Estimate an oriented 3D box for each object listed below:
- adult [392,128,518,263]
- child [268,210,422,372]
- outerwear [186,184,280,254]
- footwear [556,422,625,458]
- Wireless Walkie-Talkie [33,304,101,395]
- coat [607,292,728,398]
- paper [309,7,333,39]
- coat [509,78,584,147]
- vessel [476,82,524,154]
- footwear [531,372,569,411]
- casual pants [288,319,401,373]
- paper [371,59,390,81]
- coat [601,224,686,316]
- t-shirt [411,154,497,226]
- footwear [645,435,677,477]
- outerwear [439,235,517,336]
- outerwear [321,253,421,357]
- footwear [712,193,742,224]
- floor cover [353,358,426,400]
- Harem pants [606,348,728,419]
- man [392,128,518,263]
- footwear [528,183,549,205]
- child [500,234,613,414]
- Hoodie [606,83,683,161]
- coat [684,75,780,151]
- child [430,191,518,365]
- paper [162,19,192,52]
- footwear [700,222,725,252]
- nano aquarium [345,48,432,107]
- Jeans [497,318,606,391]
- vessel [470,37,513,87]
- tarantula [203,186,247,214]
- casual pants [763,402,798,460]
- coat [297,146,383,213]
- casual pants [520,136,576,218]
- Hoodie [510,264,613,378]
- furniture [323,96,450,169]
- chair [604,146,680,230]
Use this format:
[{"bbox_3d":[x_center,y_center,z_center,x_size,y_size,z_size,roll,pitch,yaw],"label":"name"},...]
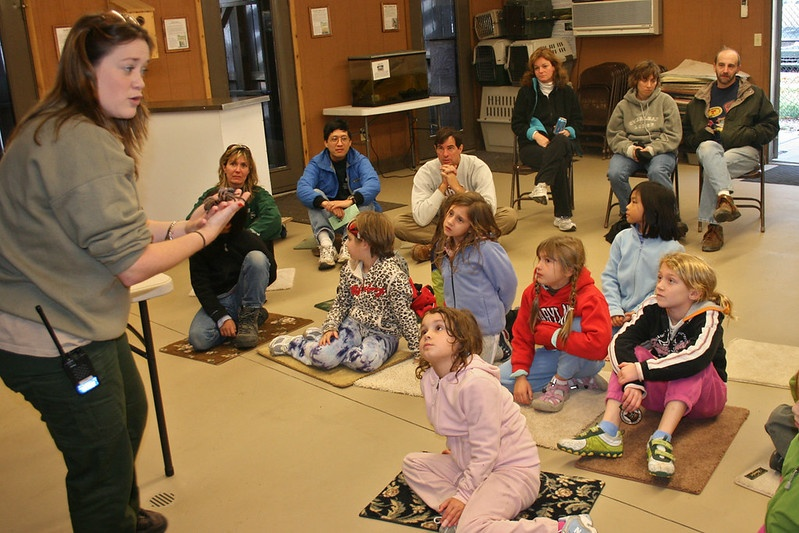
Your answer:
[{"bbox_3d":[0.449,-0.678,5.006,1.016,1.020,0.780,-3,19,8],"label":"adult"},{"bbox_3d":[-0.240,0.055,3.752,0.854,1.025,0.933,-7,14,-42],"label":"child"},{"bbox_3d":[-1.273,-0.350,4.786,0.512,0.618,0.341,1,25,-15],"label":"outerwear"},{"bbox_3d":[0.890,0.806,2.717,0.355,0.186,0.130,2,0,-3],"label":"footwear"},{"bbox_3d":[-1.059,0.270,1.842,0.078,0.345,0.039,-31,43,-30],"label":"Wireless Walkie-Talkie"},{"bbox_3d":[1.284,0.375,2.769,0.445,0.447,0.618,1,0,40],"label":"coat"},{"bbox_3d":[-1.023,-3.132,7.387,0.401,0.479,0.031,-9,7,-43],"label":"paper"},{"bbox_3d":[1.450,-1.518,6.286,0.880,0.941,0.643,-1,10,-2],"label":"coat"},{"bbox_3d":[1.460,-2.213,9.022,0.775,0.994,0.859,1,-1,31],"label":"vessel"},{"bbox_3d":[0.816,0.674,3.109,0.101,0.124,0.280,3,9,30],"label":"footwear"},{"bbox_3d":[-0.290,0.463,3.613,0.454,0.218,0.629,29,12,14],"label":"casual pants"},{"bbox_3d":[-0.254,-2.497,7.300,0.251,0.225,0.035,-17,19,-42],"label":"paper"},{"bbox_3d":[1.363,0.034,3.214,0.307,0.504,0.415,10,5,-39],"label":"coat"},{"bbox_3d":[0.471,-0.660,5.069,0.563,0.568,0.672,0,34,14],"label":"t-shirt"},{"bbox_3d":[1.122,0.826,2.531,0.079,0.115,0.226,-1,11,8],"label":"footwear"},{"bbox_3d":[0.483,0.070,3.485,0.366,0.640,0.489,-12,14,-30],"label":"outerwear"},{"bbox_3d":[-0.115,0.213,3.598,0.663,0.774,0.385,9,18,21],"label":"outerwear"},{"bbox_3d":[2.749,-0.485,4.862,0.138,0.301,0.398,-23,-17,31],"label":"footwear"},{"bbox_3d":[-0.017,0.667,3.357,0.235,0.025,0.248,6,20,41],"label":"floor cover"},{"bbox_3d":[1.325,0.592,2.771,0.510,0.225,0.329,10,-3,-34],"label":"Harem pants"},{"bbox_3d":[0.437,-0.674,5.003,0.990,1.020,0.783,-5,19,2],"label":"man"},{"bbox_3d":[1.397,-0.719,5.751,0.108,0.144,0.309,10,3,-1],"label":"footwear"},{"bbox_3d":[0.820,0.292,3.125,0.609,0.895,0.597,0,7,31],"label":"child"},{"bbox_3d":[2.389,-1.331,5.645,0.839,0.895,0.654,3,3,29],"label":"Hoodie"},{"bbox_3d":[3.078,-1.426,5.451,0.512,0.685,0.860,-12,15,-42],"label":"coat"},{"bbox_3d":[0.470,0.038,3.513,0.474,1.060,0.460,6,25,31],"label":"child"},{"bbox_3d":[-2.520,-2.602,6.469,0.041,0.416,0.345,6,15,45],"label":"paper"},{"bbox_3d":[2.669,-0.246,4.904,0.164,0.197,0.317,6,18,29],"label":"footwear"},{"bbox_3d":[-0.104,-2.521,7.699,0.389,0.677,1.146,19,31,40],"label":"nano aquarium"},{"bbox_3d":[0.868,0.353,3.350,0.571,0.359,0.684,-17,9,18],"label":"Jeans"},{"bbox_3d":[1.335,-2.990,8.467,0.483,0.682,0.688,3,17,20],"label":"vessel"},{"bbox_3d":[-0.706,-0.268,2.305,0.146,0.062,0.200,-3,20,3],"label":"tarantula"},{"bbox_3d":[1.659,0.718,2.511,0.081,0.211,0.171,3,12,10],"label":"casual pants"},{"bbox_3d":[-0.552,-0.817,5.557,0.580,0.692,0.675,-3,18,14],"label":"coat"},{"bbox_3d":[1.484,-0.922,5.818,0.533,0.769,0.613,1,16,13],"label":"casual pants"},{"bbox_3d":[0.890,0.329,3.123,0.545,0.645,0.499,3,0,43],"label":"Hoodie"},{"bbox_3d":[0.153,-1.851,7.947,0.829,0.942,1.559,0,14,26],"label":"furniture"},{"bbox_3d":[2.263,-0.739,5.515,0.608,1.083,0.748,3,8,26],"label":"chair"}]
